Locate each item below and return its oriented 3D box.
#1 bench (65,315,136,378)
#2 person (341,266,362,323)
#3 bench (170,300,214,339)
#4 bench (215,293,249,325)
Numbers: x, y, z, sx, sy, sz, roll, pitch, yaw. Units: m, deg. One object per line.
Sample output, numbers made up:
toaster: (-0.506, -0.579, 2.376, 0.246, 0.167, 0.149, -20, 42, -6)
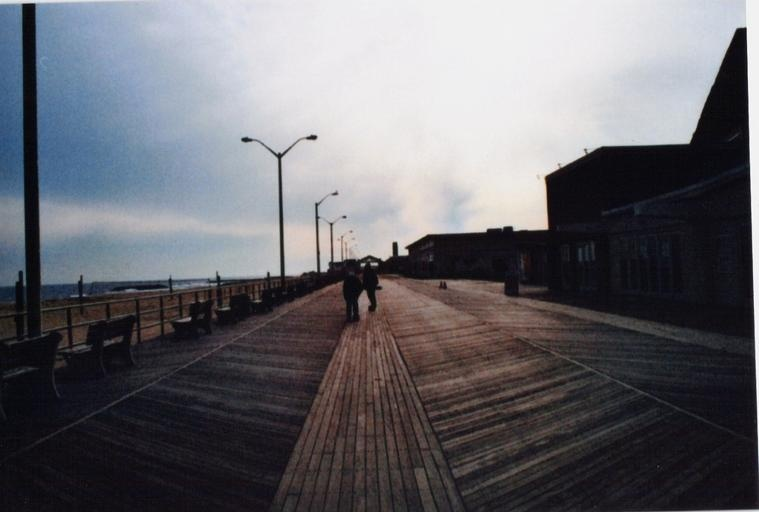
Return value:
bench: (-7.082, 2.147, 13.819, 0.920, 1.320, 1.657, 0, 0, -20)
person: (-0.925, 1.374, 19.680, 0.570, 1.824, 0.506, 0, -25, -3)
bench: (-5.665, 1.941, 17.445, 0.841, 1.141, 1.547, -1, -2, 10)
bench: (-5.189, 1.810, 20.537, 0.710, 0.925, 2.143, 0, 0, 6)
